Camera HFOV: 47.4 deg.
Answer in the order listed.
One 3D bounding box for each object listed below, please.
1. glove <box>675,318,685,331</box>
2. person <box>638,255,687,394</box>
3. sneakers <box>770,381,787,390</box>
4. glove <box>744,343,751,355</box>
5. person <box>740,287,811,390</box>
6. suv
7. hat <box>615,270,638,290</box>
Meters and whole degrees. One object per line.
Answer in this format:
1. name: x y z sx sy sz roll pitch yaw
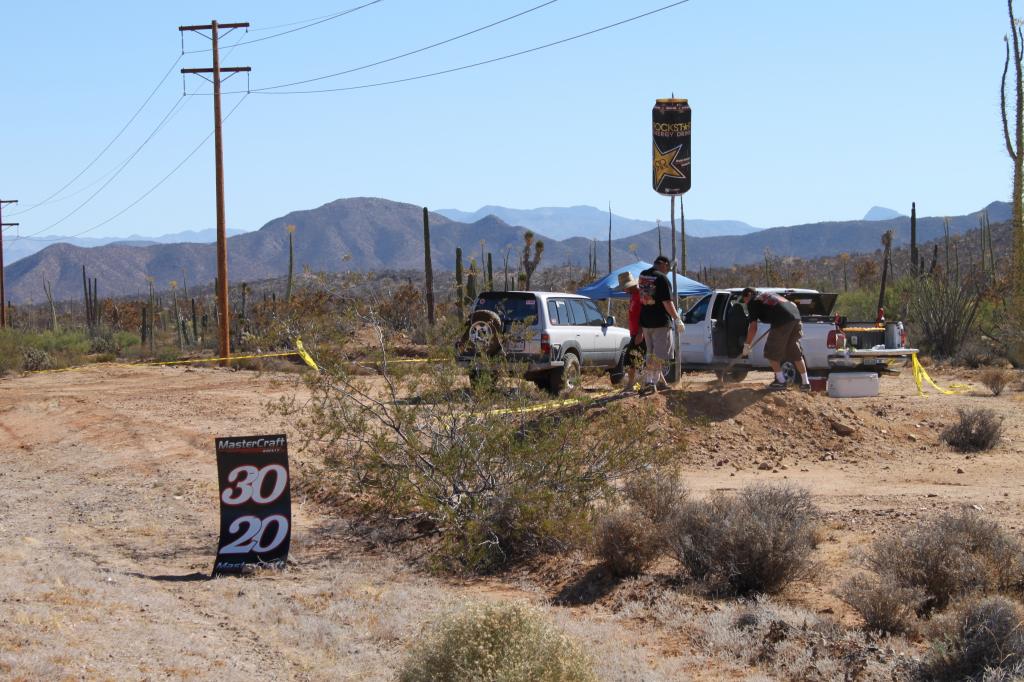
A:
1. glove: 3.041 -0.264 20.878 0.054 0.255 0.211 -2 12 -39
2. person: 2.702 -0.302 21.224 0.691 1.704 1.204 -1 0 7
3. sneakers: 4.982 0.855 21.722 0.337 0.185 0.140 0 6 -20
4. glove: 4.524 0.177 22.170 0.072 0.248 0.199 14 -16 -19
5. person: 4.902 0.009 22.191 1.049 2.341 1.367 -12 -10 -2
6. suv: 0.652 -0.059 23.948 1.676 1.789 3.665 2 6 32
7. hat: 2.347 -1.211 23.415 0.500 0.394 0.853 -6 -1 -2
